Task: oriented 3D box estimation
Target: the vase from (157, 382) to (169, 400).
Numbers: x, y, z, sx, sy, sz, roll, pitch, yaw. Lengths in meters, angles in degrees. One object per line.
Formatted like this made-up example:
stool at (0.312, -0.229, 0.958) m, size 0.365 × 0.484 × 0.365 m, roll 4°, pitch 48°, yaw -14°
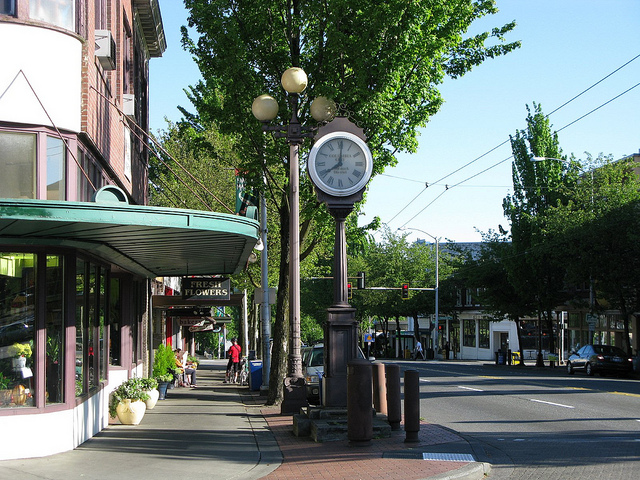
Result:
vase at (-4.677, 4.521, 24.289) m, size 0.362 × 0.429 × 0.368 m, roll 3°, pitch -4°, yaw -31°

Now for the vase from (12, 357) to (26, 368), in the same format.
vase at (-5.531, 2.264, 14.979) m, size 0.173 × 0.152 × 0.194 m, roll 4°, pitch -11°, yaw -21°

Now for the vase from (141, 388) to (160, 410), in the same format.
vase at (-4.230, 4.050, 20.570) m, size 0.555 × 0.679 × 0.613 m, roll 0°, pitch -13°, yaw -3°

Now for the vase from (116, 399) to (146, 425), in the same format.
vase at (-4.181, 3.847, 18.084) m, size 0.550 × 0.584 × 0.562 m, roll 1°, pitch 1°, yaw 1°

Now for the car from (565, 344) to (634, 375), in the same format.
car at (13.411, 5.751, 38.943) m, size 1.457 × 1.436 × 3.163 m, roll 4°, pitch -11°, yaw -18°

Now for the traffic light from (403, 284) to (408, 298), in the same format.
traffic light at (5.485, 3.276, 52.091) m, size 0.280 × 0.866 × 0.481 m, roll -1°, pitch -10°, yaw 9°

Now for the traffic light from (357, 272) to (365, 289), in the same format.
traffic light at (2.397, 2.339, 47.106) m, size 0.319 × 0.942 × 0.539 m, roll 1°, pitch -10°, yaw -5°
